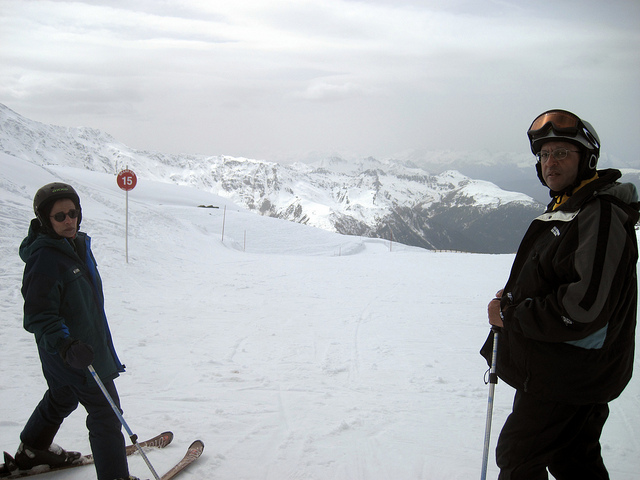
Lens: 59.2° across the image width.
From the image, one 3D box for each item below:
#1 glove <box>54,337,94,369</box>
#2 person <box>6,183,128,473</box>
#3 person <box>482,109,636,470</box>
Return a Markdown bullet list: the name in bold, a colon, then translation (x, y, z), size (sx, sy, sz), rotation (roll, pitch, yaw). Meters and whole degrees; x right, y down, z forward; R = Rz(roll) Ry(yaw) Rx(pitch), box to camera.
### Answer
- **glove**: translation (-2.555, 1.181, 5.897), size (0.380, 0.164, 0.290), rotation (41, 61, 13)
- **person**: translation (-2.741, 1.084, 6.243), size (1.338, 3.383, 0.866), rotation (7, 10, 28)
- **person**: translation (2.429, 0.521, 5.531), size (1.314, 3.575, 0.789), rotation (6, 9, 21)
